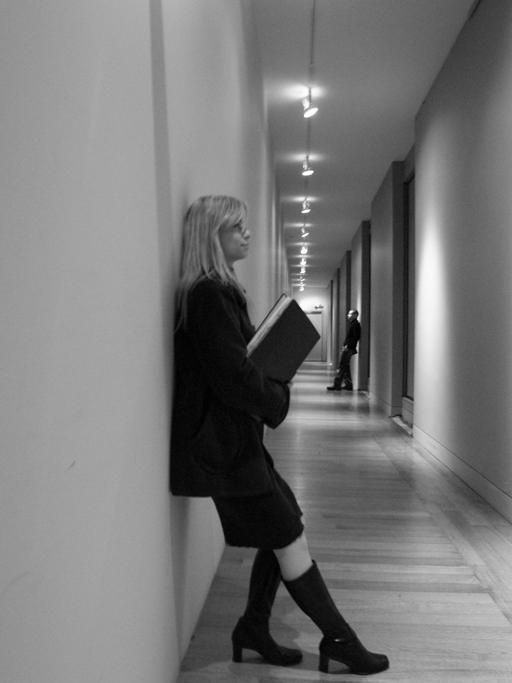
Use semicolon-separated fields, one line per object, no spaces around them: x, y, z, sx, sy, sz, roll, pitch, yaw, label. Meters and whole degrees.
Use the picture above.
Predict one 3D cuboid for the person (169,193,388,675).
0.024;0.291;1.900;0.559;1.481;0.415;-1;5;-9;person
